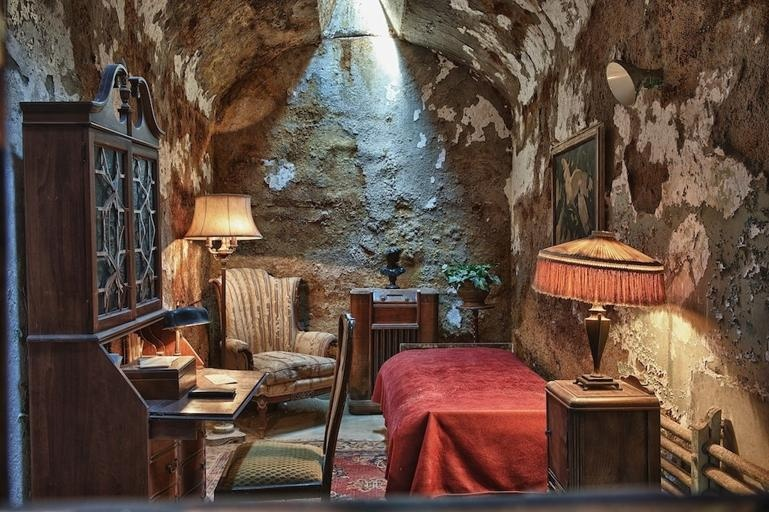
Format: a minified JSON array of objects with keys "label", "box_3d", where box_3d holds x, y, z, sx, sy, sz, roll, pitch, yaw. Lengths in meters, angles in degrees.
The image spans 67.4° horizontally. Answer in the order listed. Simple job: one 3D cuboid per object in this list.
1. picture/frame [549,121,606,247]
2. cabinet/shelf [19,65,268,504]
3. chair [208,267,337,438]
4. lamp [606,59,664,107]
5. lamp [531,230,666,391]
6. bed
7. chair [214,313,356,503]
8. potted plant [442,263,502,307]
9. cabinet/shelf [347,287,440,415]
[{"label":"picture/frame","box_3d":[1.264,-0.424,3.859,0.062,0.827,0.825,6,18,40]},{"label":"cabinet/shelf","box_3d":[-1.351,0.198,2.977,0.895,2.396,0.801,1,2,-40]},{"label":"chair","box_3d":[-0.996,0.777,5.293,1.045,1.338,1.022,0,-1,-28]},{"label":"lamp","box_3d":[1.280,-0.922,3.027,0.263,0.231,0.214,-7,31,-1]},{"label":"lamp","box_3d":[1.058,0.263,2.845,0.631,0.732,0.638,2,0,36]},{"label":"bed","box_3d":[0.515,1.017,3.889,1.144,0.497,1.987,1,2,-1]},{"label":"chair","box_3d":[-0.565,0.902,3.275,0.662,1.179,0.635,4,-3,-10]},{"label":"potted plant","box_3d":[0.805,0.234,5.349,0.431,0.291,0.444,0,1,29]},{"label":"cabinet/shelf","box_3d":[0.103,0.955,5.615,0.906,1.130,0.718,-1,-13,10]}]
